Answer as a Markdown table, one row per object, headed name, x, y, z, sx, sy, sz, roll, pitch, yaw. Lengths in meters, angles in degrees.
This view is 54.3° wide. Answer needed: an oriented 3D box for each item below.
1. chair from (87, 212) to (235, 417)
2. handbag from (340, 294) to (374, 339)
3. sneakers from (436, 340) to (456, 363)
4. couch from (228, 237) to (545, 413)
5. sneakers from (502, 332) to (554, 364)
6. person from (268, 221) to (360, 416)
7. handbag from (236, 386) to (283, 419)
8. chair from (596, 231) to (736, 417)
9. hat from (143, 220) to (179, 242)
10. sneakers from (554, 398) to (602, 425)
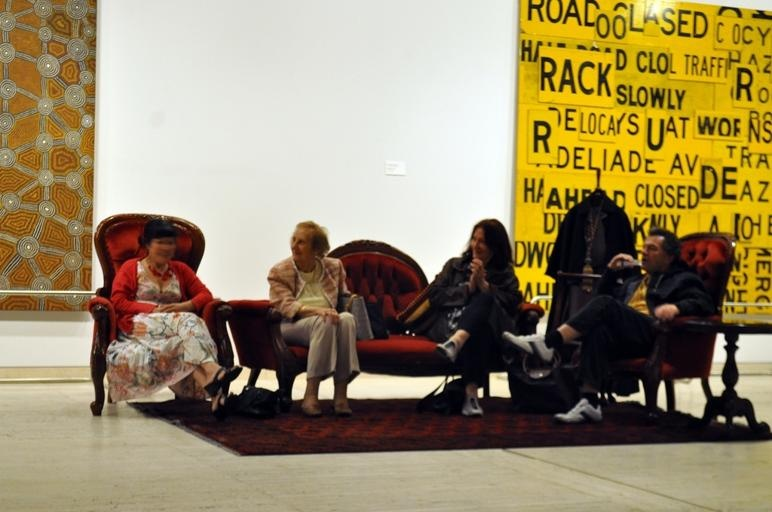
| name | x | y | z | sx | sy | sz | roll | pitch | yaw |
| --- | --- | --- | --- | --- | --- | --- | --- | --- | --- |
| chair | -1.510 | 0.342 | 5.266 | 0.918 | 1.491 | 1.424 | 8 | -13 | -42 |
| handbag | -0.187 | 0.446 | 5.481 | 0.275 | 0.288 | 0.112 | -9 | 7 | 25 |
| sneakers | 0.422 | 0.646 | 5.116 | 0.090 | 0.079 | 0.175 | 39 | 5 | 26 |
| couch | -0.004 | 0.492 | 5.711 | 2.303 | 1.323 | 0.908 | 2 | -7 | -21 |
| sneakers | 0.994 | 0.648 | 5.248 | 0.258 | 0.114 | 0.089 | 27 | -32 | 9 |
| person | -0.509 | 0.415 | 5.280 | 0.632 | 1.321 | 0.526 | 3 | -3 | -9 |
| handbag | -0.842 | 0.974 | 4.998 | 0.204 | 0.088 | 0.200 | 5 | -1 | -36 |
| chair | 1.982 | 0.452 | 5.486 | 0.966 | 1.228 | 0.830 | 2 | -3 | -37 |
| hat | -1.566 | -0.173 | 5.283 | 0.171 | 0.138 | 0.175 | 1 | -7 | 6 |
| sneakers | 1.318 | 1.077 | 5.150 | 0.364 | 0.186 | 0.132 | 2 | -6 | -8 |
